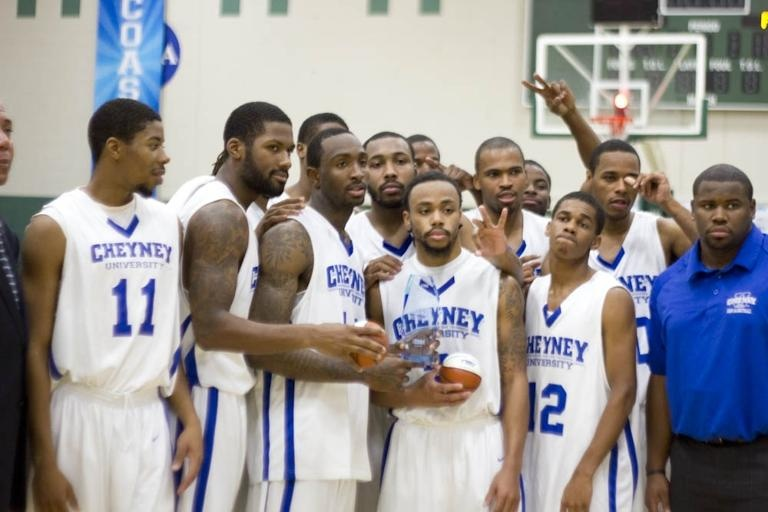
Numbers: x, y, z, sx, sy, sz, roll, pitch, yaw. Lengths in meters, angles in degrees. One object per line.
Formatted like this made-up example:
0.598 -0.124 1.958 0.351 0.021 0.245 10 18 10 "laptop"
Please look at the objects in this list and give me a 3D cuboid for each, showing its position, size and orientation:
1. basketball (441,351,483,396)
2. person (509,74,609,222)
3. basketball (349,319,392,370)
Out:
0.605 0.919 8.625 0.270 0.313 0.280 0 3 -38 "basketball"
1.765 -0.856 10.395 0.553 1.596 0.321 -3 -8 -2 "person"
-0.106 0.700 8.547 0.283 0.379 0.401 0 3 1 "basketball"
